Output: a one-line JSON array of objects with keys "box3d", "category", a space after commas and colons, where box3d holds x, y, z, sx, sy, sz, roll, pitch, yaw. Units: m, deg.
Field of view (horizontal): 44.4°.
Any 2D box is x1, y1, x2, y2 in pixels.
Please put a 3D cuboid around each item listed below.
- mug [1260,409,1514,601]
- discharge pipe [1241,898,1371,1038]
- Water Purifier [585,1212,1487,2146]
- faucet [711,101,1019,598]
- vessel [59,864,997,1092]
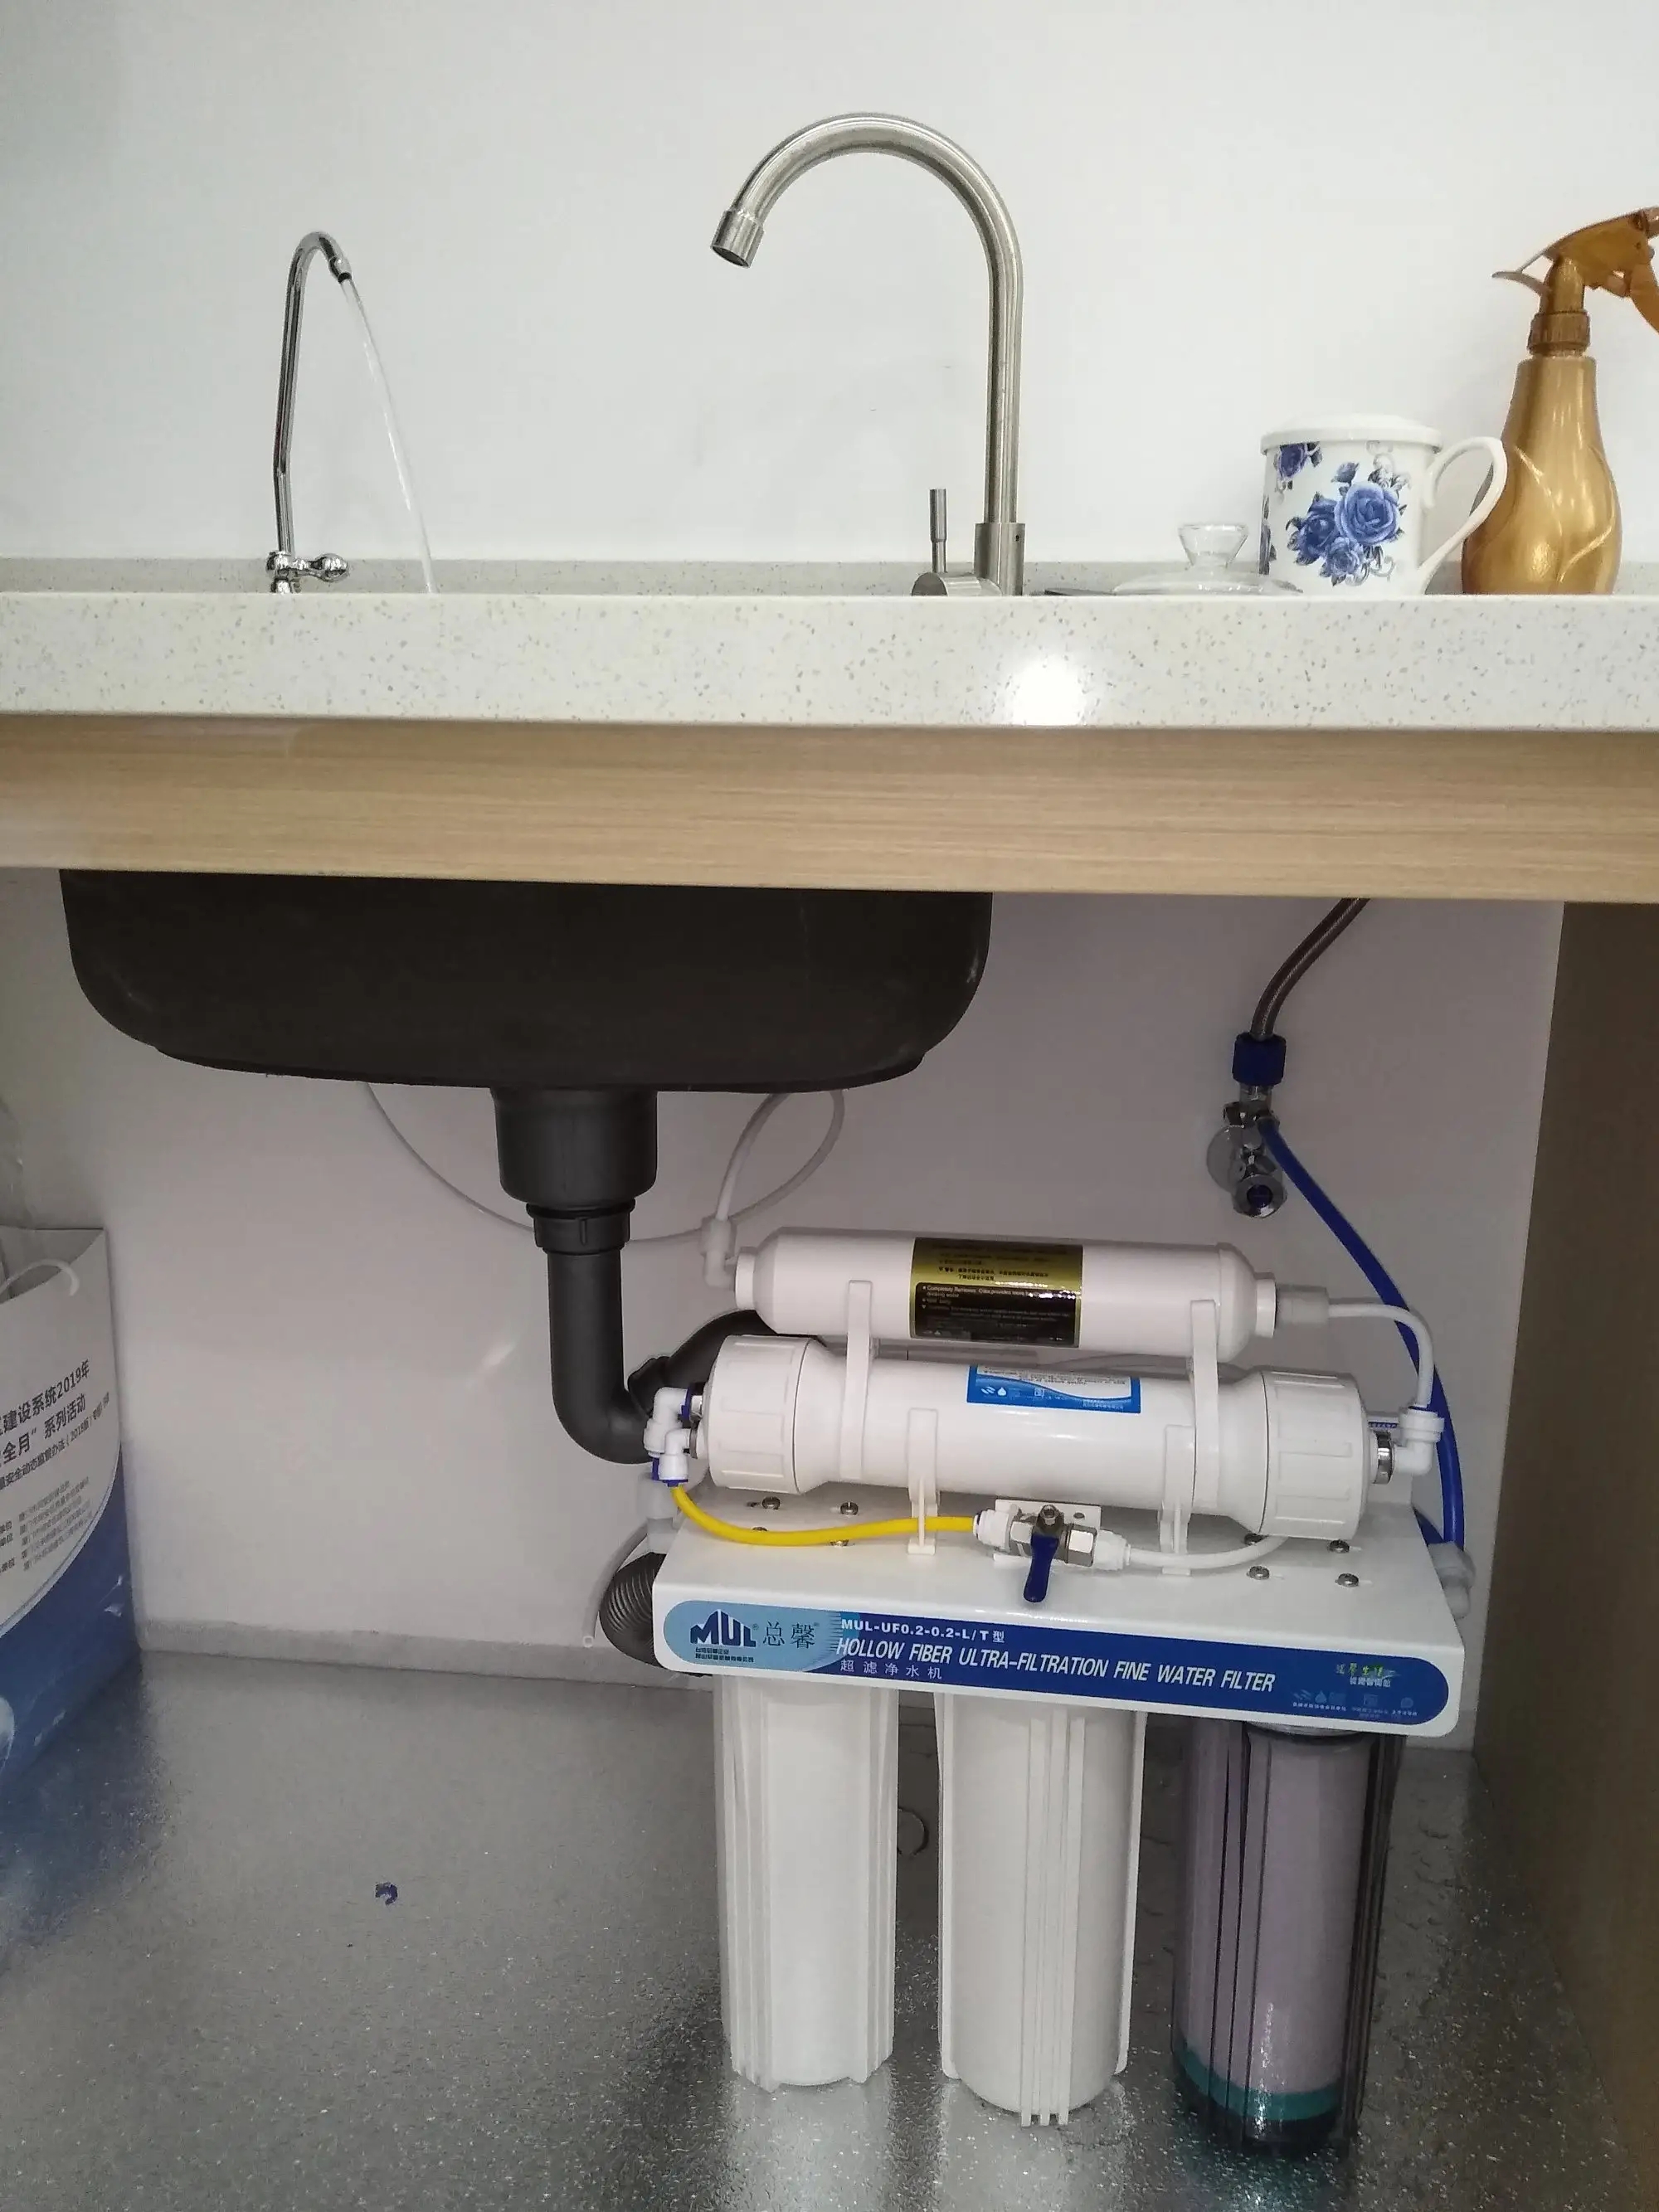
[{"box3d": [0.243, -0.271, 0.916, 0.103, 0.074, 0.042, 5, 13, 18], "category": "mug"}, {"box3d": [0.267, -0.080, 1.154, 0.023, 0.134, 0.034, -25, 60, -34], "category": "discharge pipe"}, {"box3d": [0.092, 0.279, 1.026, 0.407, 0.402, 0.322, 6, 8, 13], "category": "Water Purifier"}, {"box3d": [0.042, -0.347, 0.936, 0.179, 0.212, 0.093, -11, 17, -42], "category": "faucet"}, {"box3d": [-0.135, -0.054, 0.892, 0.257, 0.083, 0.168, 0, 6, 3], "category": "vessel"}]
